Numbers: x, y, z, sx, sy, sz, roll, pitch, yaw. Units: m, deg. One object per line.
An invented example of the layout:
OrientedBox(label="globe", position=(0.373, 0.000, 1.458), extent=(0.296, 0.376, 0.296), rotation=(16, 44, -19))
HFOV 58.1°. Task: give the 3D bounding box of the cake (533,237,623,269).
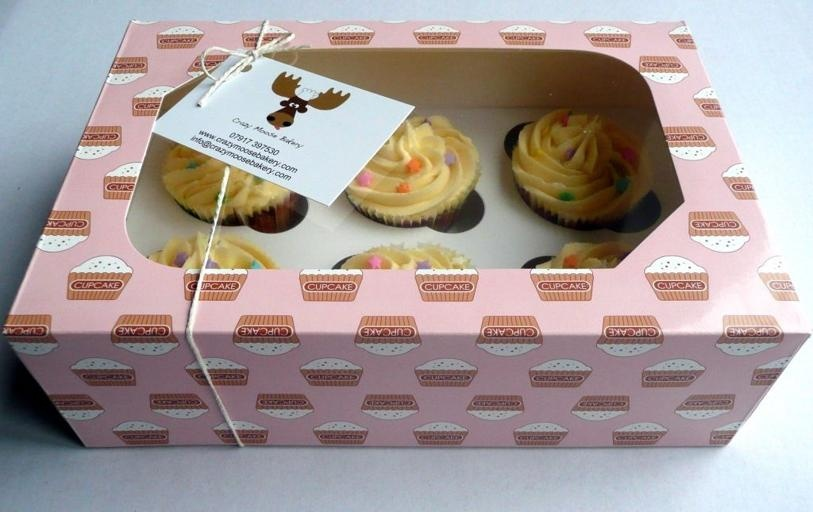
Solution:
OrientedBox(label="cake", position=(0.456, -0.003, 1.890), extent=(0.213, 0.058, 0.105), rotation=(11, 44, 9))

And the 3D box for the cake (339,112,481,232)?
OrientedBox(label="cake", position=(0.019, -0.208, 2.065), extent=(0.363, 0.237, 0.302), rotation=(-9, 73, -2))

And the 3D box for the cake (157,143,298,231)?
OrientedBox(label="cake", position=(-0.460, -0.165, 1.920), extent=(0.307, 0.095, 0.215), rotation=(20, 59, -2))

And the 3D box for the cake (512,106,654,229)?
OrientedBox(label="cake", position=(0.491, -0.263, 2.048), extent=(0.401, 0.236, 0.376), rotation=(17, 57, 9))
